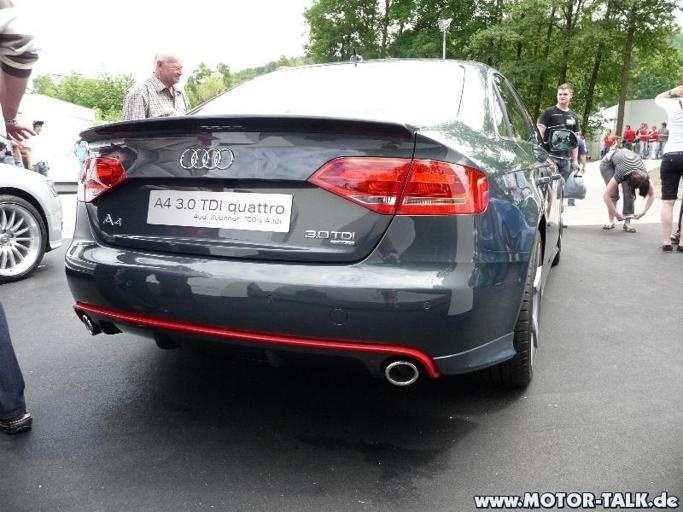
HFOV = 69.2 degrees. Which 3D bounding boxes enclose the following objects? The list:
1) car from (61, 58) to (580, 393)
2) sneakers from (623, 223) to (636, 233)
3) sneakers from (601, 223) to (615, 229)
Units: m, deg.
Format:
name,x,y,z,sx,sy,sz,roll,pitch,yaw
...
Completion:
name,x,y,z,sx,sy,sz,roll,pitch,yaw
car,0.341,-0.380,3.163,1.733,0.928,2.778,3,13,24
sneakers,5.001,-0.479,8.604,0.140,0.095,0.272,-4,4,11
sneakers,4.814,-0.532,8.926,0.106,0.080,0.265,-3,-1,42
